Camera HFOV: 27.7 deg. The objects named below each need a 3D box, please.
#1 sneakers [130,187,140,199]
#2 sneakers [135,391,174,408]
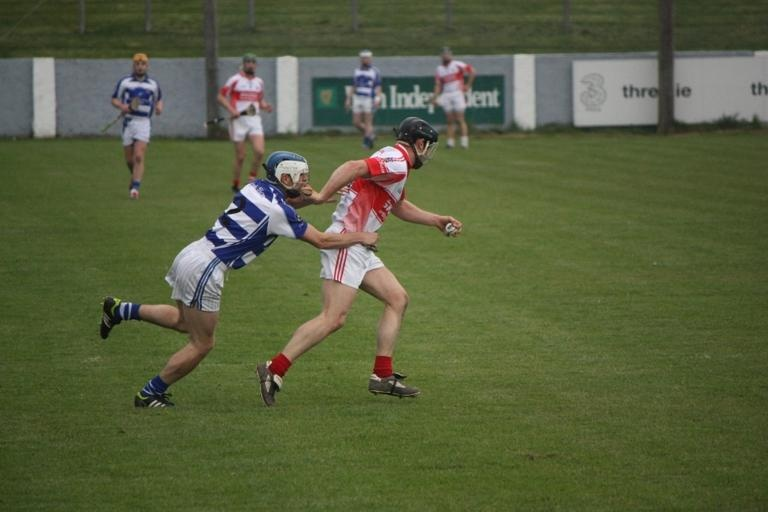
[{"bbox_3d":[-4.641,-1.184,29.108,0.145,0.103,0.219,4,-3,-13],"label":"sneakers"},{"bbox_3d":[-3.325,2.059,22.805,0.633,0.236,0.218,3,18,-7],"label":"sneakers"}]
